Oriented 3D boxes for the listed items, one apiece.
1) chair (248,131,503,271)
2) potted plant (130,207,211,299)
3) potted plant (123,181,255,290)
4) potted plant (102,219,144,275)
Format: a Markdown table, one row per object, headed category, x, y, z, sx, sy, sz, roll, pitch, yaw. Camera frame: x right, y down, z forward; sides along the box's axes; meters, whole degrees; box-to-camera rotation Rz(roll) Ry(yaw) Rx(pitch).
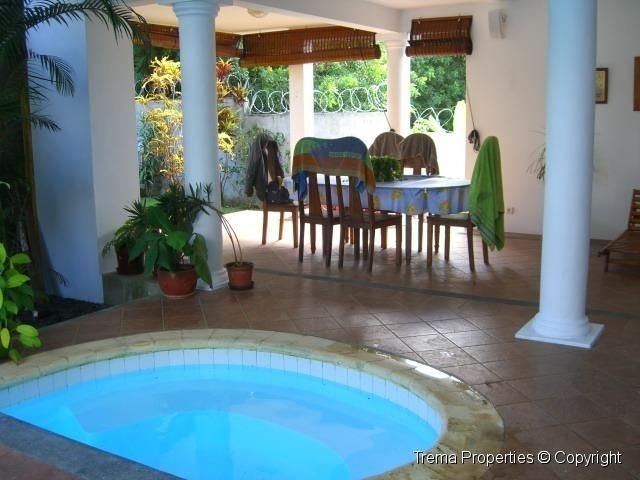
| category | x | y | z | sx | sy | sz | roll | pitch | yaw |
| --- | --- | --- | --- | --- | --- | --- | --- | --- | --- |
| chair | 0.940 | -0.484 | 6.172 | 2.699 | 1.691 | 0.876 | 3 | 11 | 21 |
| potted plant | -1.635 | 0.114 | 5.186 | 1.001 | 0.993 | 0.728 | 3 | 11 | 19 |
| potted plant | -1.513 | -0.019 | 5.305 | 1.375 | 1.290 | 1.045 | 2 | 17 | 3 |
| potted plant | -2.406 | 0.094 | 6.086 | 0.555 | 0.652 | 0.637 | 0 | -2 | 15 |
